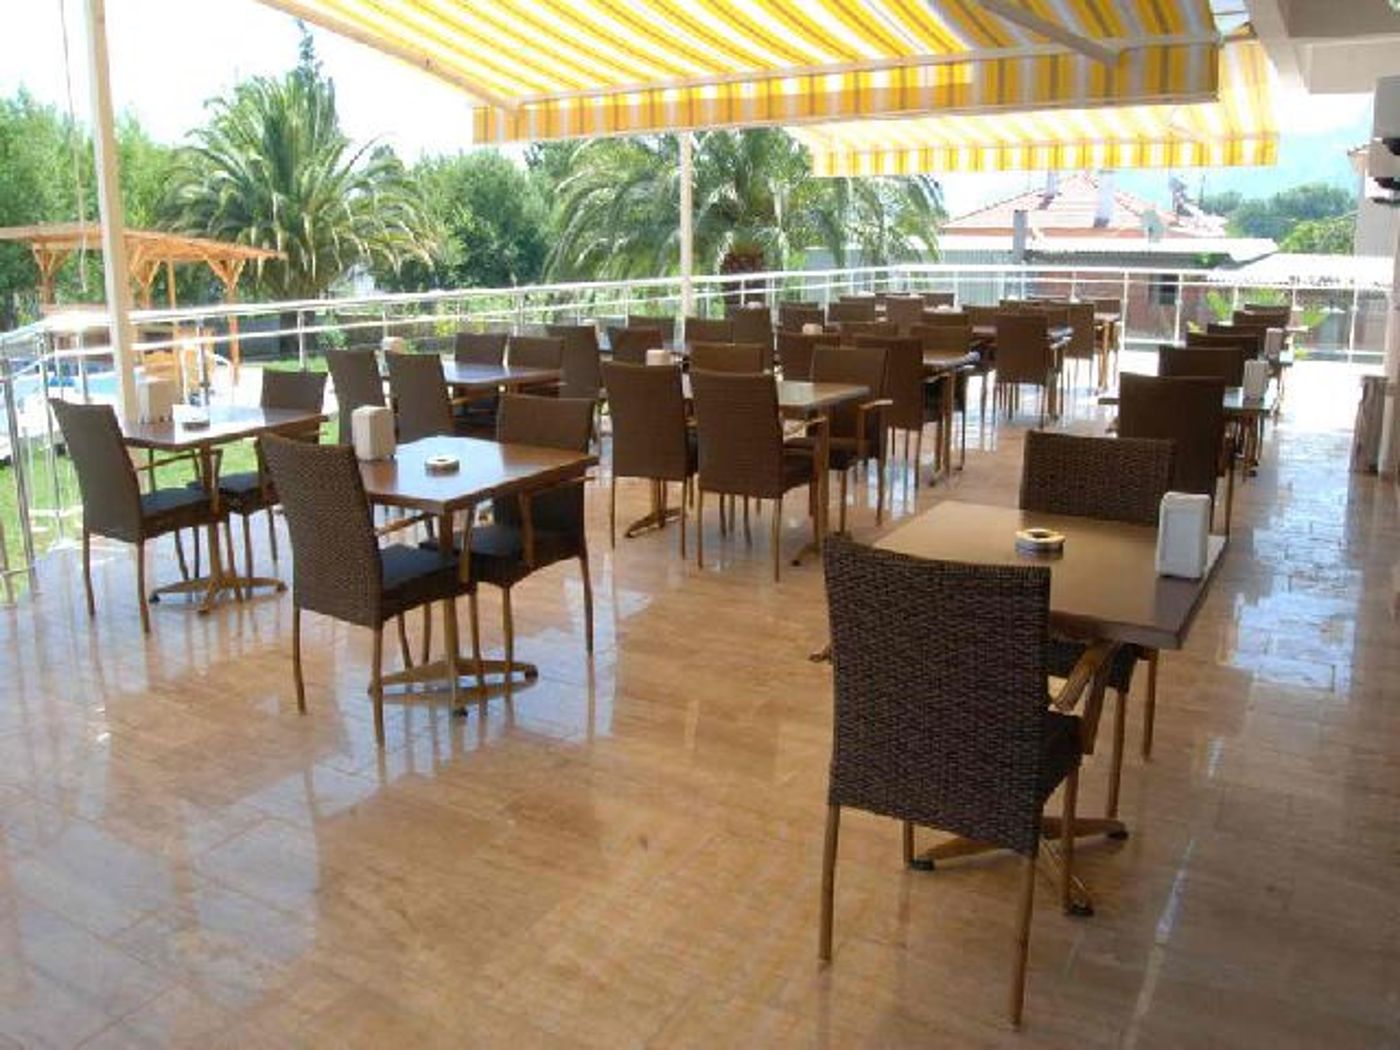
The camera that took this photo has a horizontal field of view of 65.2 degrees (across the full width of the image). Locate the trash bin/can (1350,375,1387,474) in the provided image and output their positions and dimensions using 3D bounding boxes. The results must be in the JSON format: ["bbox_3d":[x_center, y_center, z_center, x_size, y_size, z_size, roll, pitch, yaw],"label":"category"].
[{"bbox_3d":[4.965,-0.750,8.179,0.180,0.710,0.314,-4,13,-2],"label":"trash bin/can"}]
